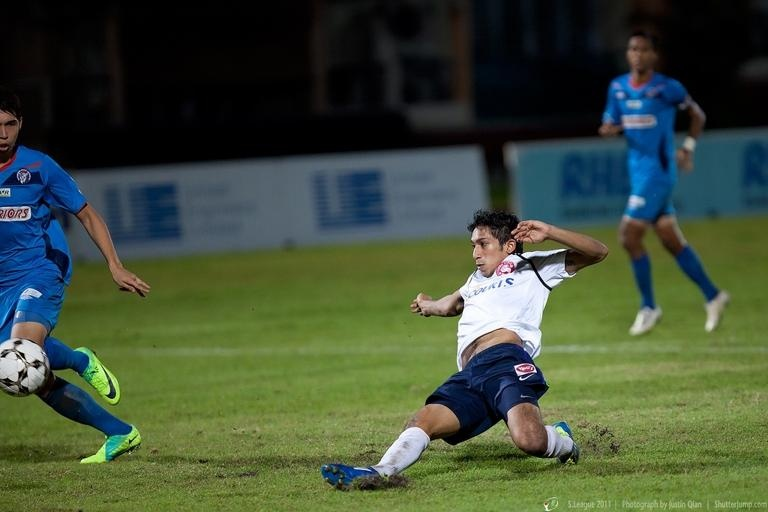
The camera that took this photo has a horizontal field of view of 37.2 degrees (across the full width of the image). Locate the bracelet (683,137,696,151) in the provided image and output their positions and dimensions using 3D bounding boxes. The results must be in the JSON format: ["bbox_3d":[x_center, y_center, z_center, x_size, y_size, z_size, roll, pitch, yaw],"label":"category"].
[{"bbox_3d":[3.250,-1.196,12.167,0.126,0.186,0.488,1,14,17],"label":"bracelet"}]

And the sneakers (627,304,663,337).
[{"bbox_3d":[2.886,0.748,12.769,0.519,0.209,0.192,-39,24,-32],"label":"sneakers"}]

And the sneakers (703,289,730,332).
[{"bbox_3d":[3.561,0.610,12.234,0.239,0.477,0.269,0,15,15],"label":"sneakers"}]

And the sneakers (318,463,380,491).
[{"bbox_3d":[-0.329,1.843,9.786,0.580,0.184,0.283,6,2,-1],"label":"sneakers"}]
